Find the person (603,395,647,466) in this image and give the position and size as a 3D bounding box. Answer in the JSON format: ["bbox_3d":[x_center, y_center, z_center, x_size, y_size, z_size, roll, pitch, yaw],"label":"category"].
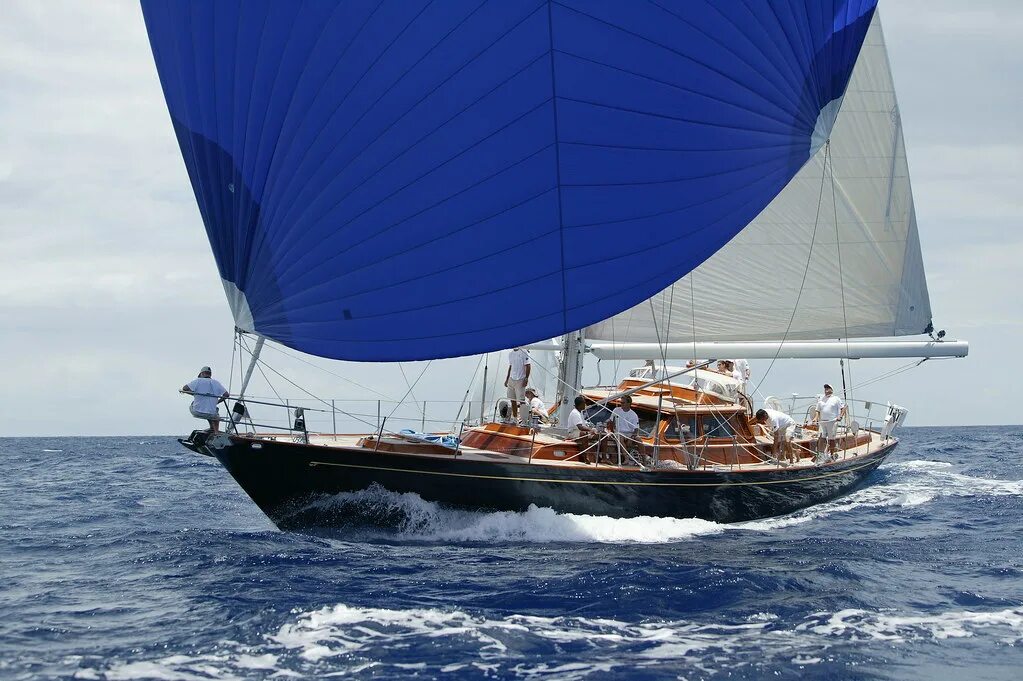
[{"bbox_3d":[1.977,1.743,16.219,0.752,1.435,0.520,9,14,10],"label":"person"}]

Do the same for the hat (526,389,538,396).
[{"bbox_3d":[0.407,0.983,17.214,0.208,0.119,0.134,-5,-2,6],"label":"hat"}]

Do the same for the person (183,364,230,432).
[{"bbox_3d":[-5.181,1.023,15.424,0.929,1.044,0.723,3,-3,-11],"label":"person"}]
